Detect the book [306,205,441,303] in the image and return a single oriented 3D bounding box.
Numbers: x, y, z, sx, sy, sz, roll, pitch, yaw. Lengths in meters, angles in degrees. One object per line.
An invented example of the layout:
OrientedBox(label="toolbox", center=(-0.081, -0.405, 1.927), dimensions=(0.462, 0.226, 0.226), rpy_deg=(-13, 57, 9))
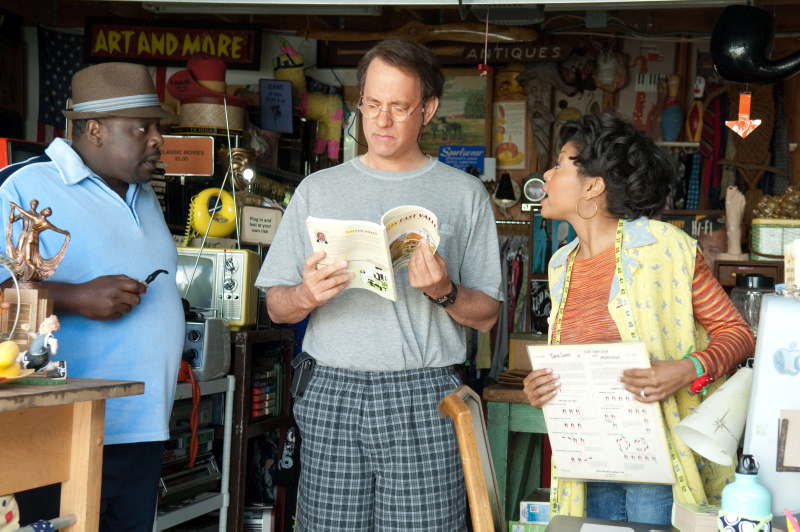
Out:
OrientedBox(label="book", center=(-0.095, -0.038, 2.028), dimensions=(0.382, 0.299, 0.226), rpy_deg=(-2, 6, -35))

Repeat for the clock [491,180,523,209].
OrientedBox(label="clock", center=(1.017, -0.646, 5.939), dimensions=(0.270, 0.245, 0.062), rpy_deg=(-3, 11, -7))

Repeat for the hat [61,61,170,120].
OrientedBox(label="hat", center=(-1.150, -0.679, 2.587), dimensions=(0.337, 0.133, 0.269), rpy_deg=(-1, 5, 8))

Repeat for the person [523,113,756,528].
OrientedBox(label="person", center=(0.862, 0.199, 2.314), dimensions=(0.760, 1.510, 0.457), rpy_deg=(3, 6, 16))

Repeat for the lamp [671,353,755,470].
OrientedBox(label="lamp", center=(0.865, 0.419, 1.773), dimensions=(0.187, 0.260, 0.164), rpy_deg=(3, 5, 15))

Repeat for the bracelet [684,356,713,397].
OrientedBox(label="bracelet", center=(0.987, 0.375, 2.170), dimensions=(0.067, 0.096, 0.132), rpy_deg=(-13, -38, 8))

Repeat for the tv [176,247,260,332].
OrientedBox(label="tv", center=(-1.006, 0.133, 3.495), dimensions=(0.504, 0.412, 0.252), rpy_deg=(1, -1, 15))

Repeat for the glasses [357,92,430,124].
OrientedBox(label="glasses", center=(-0.031, -0.558, 2.328), dimensions=(0.253, 0.092, 0.149), rpy_deg=(2, 5, 4))

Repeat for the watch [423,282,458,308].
OrientedBox(label="watch", center=(0.138, 0.100, 2.171), dimensions=(0.073, 0.049, 0.065), rpy_deg=(-32, 18, 37))

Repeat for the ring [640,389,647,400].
OrientedBox(label="ring", center=(0.800, 0.430, 2.118), dimensions=(0.025, 0.024, 0.007), rpy_deg=(1, 2, 36))
